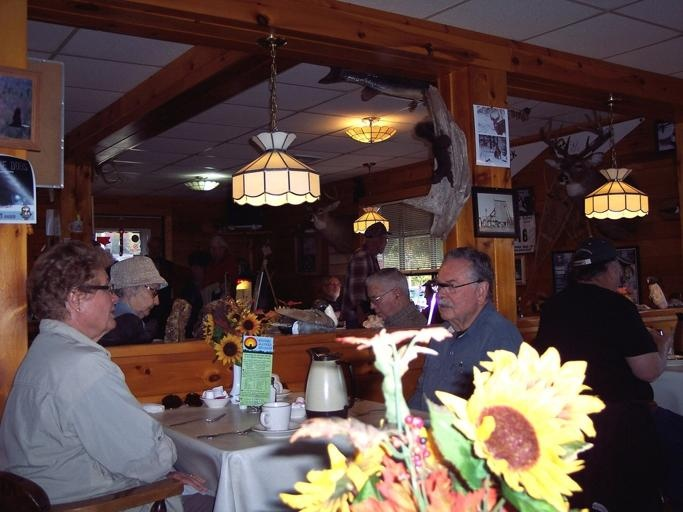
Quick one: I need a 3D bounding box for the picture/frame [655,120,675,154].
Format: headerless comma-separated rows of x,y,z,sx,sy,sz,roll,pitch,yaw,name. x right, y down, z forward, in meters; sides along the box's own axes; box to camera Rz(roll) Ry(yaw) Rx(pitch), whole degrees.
3.673,-1.343,6.016,0.082,0.299,0.329,3,4,-26,picture/frame

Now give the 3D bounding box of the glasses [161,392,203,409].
-0.757,0.677,2.546,0.134,0.055,0.084,-4,-3,-16,glasses

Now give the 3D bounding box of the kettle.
-0.043,0.491,2.103,0.261,0.255,0.195,1,-1,39,kettle

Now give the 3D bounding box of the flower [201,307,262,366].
-0.522,0.367,2.646,0.304,0.294,0.122,6,-22,17,flower

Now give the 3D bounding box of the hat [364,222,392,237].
0.349,-0.254,5.222,0.201,0.098,0.145,-5,5,-38,hat

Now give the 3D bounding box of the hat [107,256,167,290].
-1.149,0.123,2.986,0.251,0.124,0.210,7,-9,-24,hat

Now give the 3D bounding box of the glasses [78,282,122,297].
-0.943,0.131,2.080,0.139,0.040,0.132,-1,-2,8,glasses

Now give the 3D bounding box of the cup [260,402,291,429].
-0.244,0.598,2.011,0.087,0.074,0.108,-5,-11,25,cup

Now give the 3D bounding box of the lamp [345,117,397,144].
0.387,-1.455,6.215,0.319,0.149,0.311,-1,2,-28,lamp

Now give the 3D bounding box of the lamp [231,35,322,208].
-0.393,-0.836,3.420,0.536,1.059,0.698,1,-2,-4,lamp

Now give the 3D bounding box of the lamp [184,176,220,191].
-2.360,-1.216,9.001,0.472,0.158,0.435,0,-2,40,lamp

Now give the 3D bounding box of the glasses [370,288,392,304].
0.261,0.236,3.475,0.117,0.034,0.113,-29,2,-26,glasses
